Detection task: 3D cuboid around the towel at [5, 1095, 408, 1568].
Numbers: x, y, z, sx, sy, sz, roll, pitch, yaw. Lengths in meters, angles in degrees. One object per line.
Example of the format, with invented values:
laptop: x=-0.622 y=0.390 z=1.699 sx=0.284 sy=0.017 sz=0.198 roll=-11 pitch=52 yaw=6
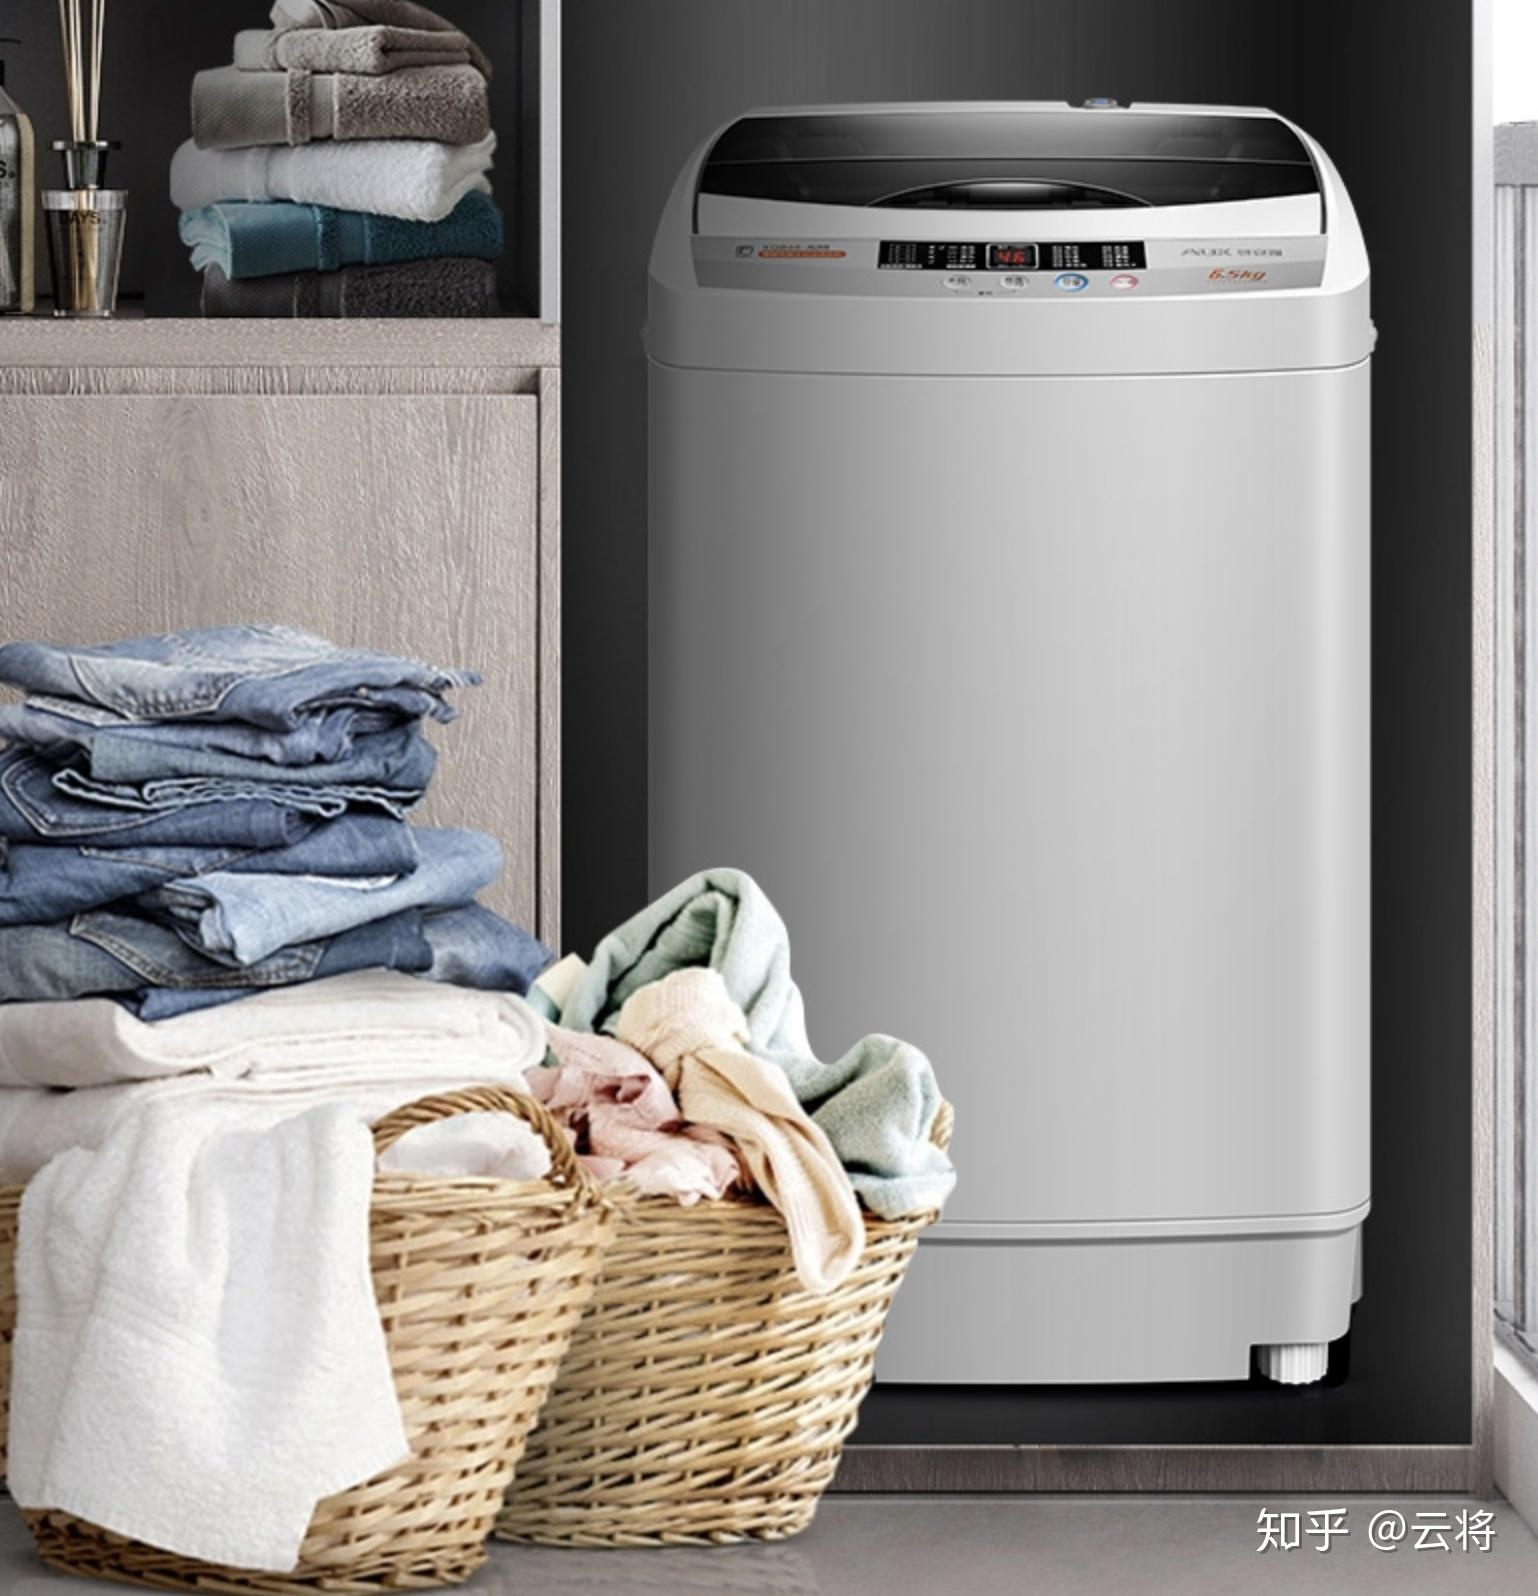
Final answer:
towel: x=-0.217 y=0.204 z=0.812 sx=0.198 sy=0.169 sz=0.055 roll=0 pitch=-15 yaw=8
